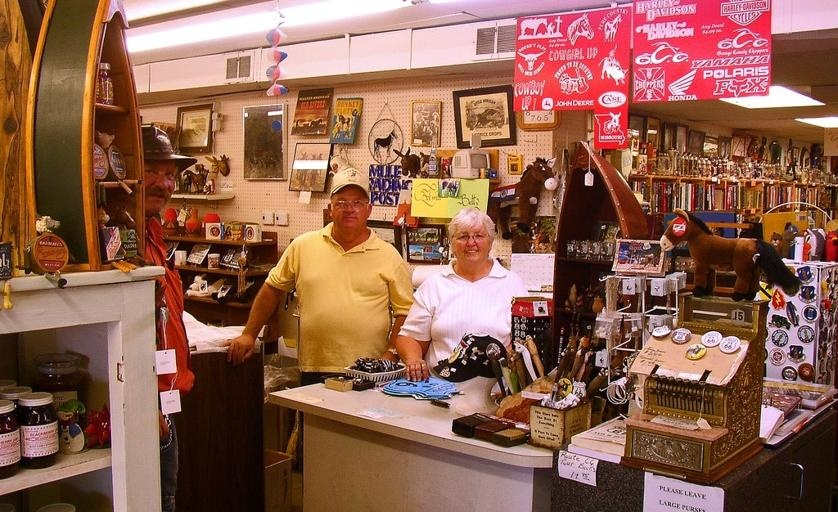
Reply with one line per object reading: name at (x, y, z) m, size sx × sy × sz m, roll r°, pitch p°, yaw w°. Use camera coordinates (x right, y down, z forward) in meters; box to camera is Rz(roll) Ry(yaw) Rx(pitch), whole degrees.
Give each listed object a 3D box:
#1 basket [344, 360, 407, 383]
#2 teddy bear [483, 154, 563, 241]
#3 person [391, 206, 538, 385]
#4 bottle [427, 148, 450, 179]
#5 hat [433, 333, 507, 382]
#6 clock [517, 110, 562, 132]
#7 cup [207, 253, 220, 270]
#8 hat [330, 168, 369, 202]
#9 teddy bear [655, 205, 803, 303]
basket at (-0.240, 0.675, 3.509) m, size 0.184 × 0.068 × 0.208 m, roll 2°, pitch 1°, yaw 35°
teddy bear at (0.837, -0.487, 5.112) m, size 0.242 × 0.589 × 0.895 m, roll 4°, pitch -7°, yaw -37°
person at (0.225, 0.251, 4.047) m, size 1.158 × 1.562 × 0.921 m, roll 0°, pitch -5°, yaw 11°
bottle at (0.186, -0.841, 5.327) m, size 0.246 × 0.268 × 0.185 m, roll 0°, pitch 8°, yaw 14°
hat at (0.255, 0.519, 3.047) m, size 0.327 × 0.176 × 0.201 m, roll 4°, pitch -2°, yaw 4°
clock at (0.972, -1.121, 4.893) m, size 0.186 × 0.158 × 0.374 m, roll -8°, pitch 10°, yaw -42°
cup at (-2.223, 0.043, 6.493) m, size 0.146 × 0.160 × 0.145 m, roll 0°, pitch -3°, yaw 0°
hat at (-0.475, -0.462, 4.141) m, size 0.189 × 0.260 × 0.264 m, roll 0°, pitch 44°, yaw -10°
teddy bear at (1.434, 0.001, 2.731) m, size 0.152 × 0.383 × 0.640 m, roll -4°, pitch 5°, yaw -32°
